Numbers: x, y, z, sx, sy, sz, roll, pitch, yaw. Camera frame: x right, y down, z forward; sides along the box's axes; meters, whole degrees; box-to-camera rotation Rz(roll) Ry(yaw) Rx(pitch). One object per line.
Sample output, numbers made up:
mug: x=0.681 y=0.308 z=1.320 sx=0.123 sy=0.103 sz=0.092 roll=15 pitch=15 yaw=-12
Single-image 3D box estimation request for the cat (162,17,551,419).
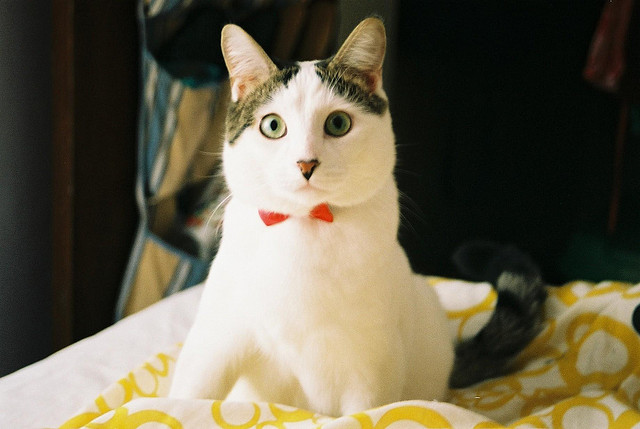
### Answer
cat: x=0.076 y=0.021 z=1.914 sx=0.927 sy=1.032 sz=0.681 roll=-8 pitch=15 yaw=-33
